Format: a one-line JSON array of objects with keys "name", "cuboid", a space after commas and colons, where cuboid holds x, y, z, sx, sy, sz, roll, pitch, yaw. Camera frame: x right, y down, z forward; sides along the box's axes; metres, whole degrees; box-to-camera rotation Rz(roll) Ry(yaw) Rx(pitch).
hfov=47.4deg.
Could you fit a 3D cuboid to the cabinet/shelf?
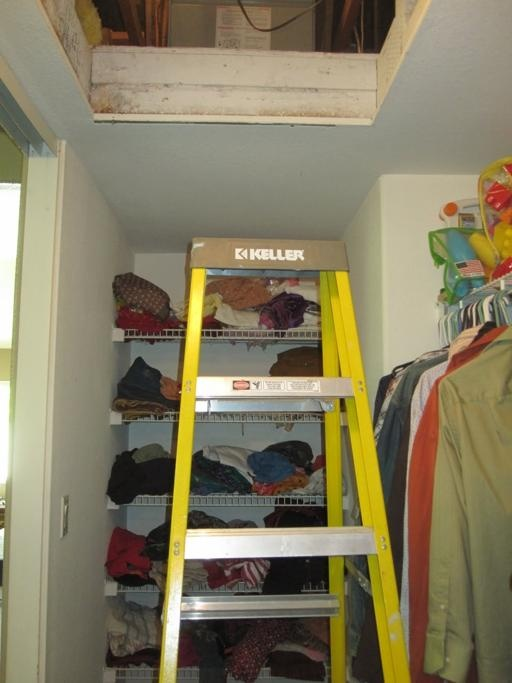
[{"name": "cabinet/shelf", "cuboid": [-0.115, 0.692, 2.313, 0.892, 1.306, 0.272, -1, -18, 4]}]
